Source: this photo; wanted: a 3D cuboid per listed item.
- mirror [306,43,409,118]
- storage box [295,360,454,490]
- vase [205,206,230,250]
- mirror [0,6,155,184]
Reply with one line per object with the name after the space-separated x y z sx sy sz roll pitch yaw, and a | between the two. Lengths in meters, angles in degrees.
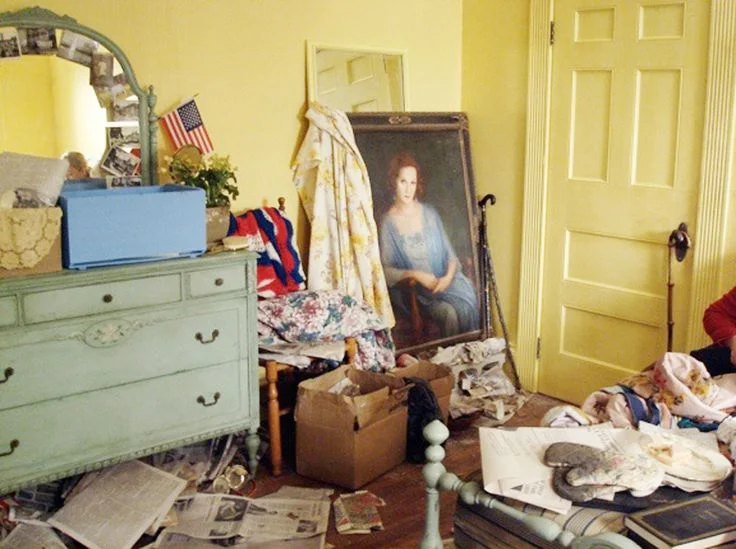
-0.060 -1.275 3.948 0.774 0.413 0.103 -12 16 -36 | mirror
0.039 0.792 3.483 0.536 0.497 0.840 8 10 39 | storage box
-0.725 -0.233 3.085 0.192 0.201 0.183 0 7 -10 | vase
-1.432 -0.859 2.917 0.993 0.906 0.066 -3 6 -38 | mirror
